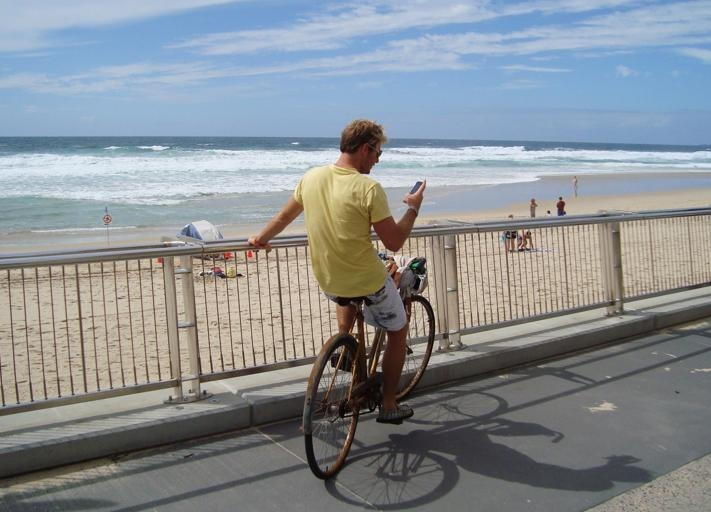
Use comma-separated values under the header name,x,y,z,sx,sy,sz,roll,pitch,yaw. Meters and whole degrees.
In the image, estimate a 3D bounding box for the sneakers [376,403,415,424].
name,x,y,z,sx,sy,sz,roll,pitch,yaw
sneakers,0.349,1.392,4.998,0.347,0.114,0.145,-5,6,-17

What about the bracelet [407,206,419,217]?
name,x,y,z,sx,sy,sz,roll,pitch,yaw
bracelet,0.475,-0.368,4.668,0.085,0.045,0.099,17,1,14

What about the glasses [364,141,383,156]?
name,x,y,z,sx,sy,sz,roll,pitch,yaw
glasses,0.153,-0.875,4.635,0.036,0.099,0.111,-15,-6,24

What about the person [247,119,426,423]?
name,x,y,z,sx,sy,sz,roll,pitch,yaw
person,-0.093,0.231,4.826,1.211,2.718,0.741,1,10,28
